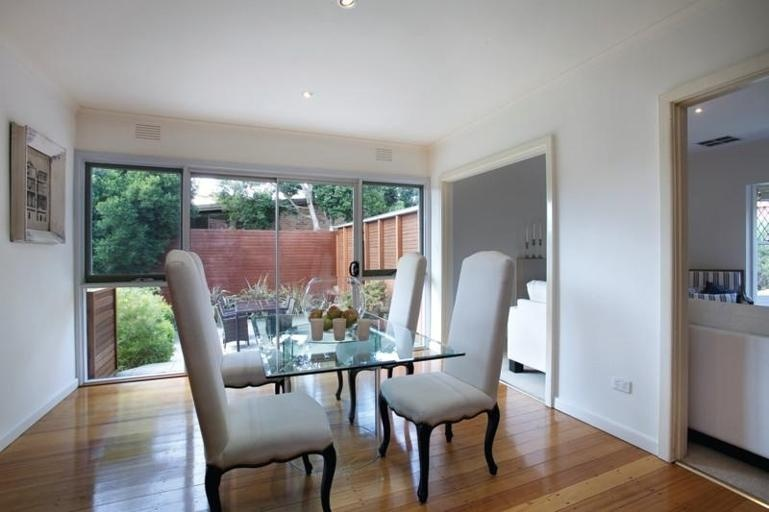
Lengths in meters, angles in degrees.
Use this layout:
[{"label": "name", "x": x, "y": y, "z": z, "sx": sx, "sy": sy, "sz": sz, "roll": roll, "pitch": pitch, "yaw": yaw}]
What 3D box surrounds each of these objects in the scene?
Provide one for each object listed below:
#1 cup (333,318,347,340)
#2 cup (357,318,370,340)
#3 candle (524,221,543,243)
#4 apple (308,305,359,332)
[{"label": "cup", "x": -0.350, "y": 0.579, "z": 4.164, "sx": 0.138, "sy": 0.217, "sz": 0.156, "roll": 0, "pitch": 2, "yaw": -5}, {"label": "cup", "x": -0.177, "y": 0.583, "z": 4.110, "sx": 0.145, "sy": 0.161, "sz": 0.138, "roll": 4, "pitch": 6, "yaw": 0}, {"label": "candle", "x": 2.220, "y": -0.358, "z": 7.590, "sx": 0.288, "sy": 0.306, "sz": 0.172, "roll": 0, "pitch": 1, "yaw": 16}, {"label": "apple", "x": -0.405, "y": 0.506, "z": 4.162, "sx": 0.383, "sy": 0.190, "sz": 0.158, "roll": 0, "pitch": -3, "yaw": -24}]
